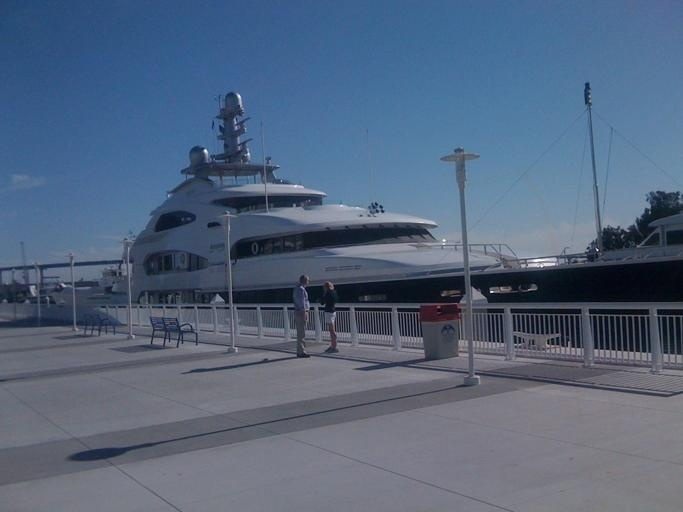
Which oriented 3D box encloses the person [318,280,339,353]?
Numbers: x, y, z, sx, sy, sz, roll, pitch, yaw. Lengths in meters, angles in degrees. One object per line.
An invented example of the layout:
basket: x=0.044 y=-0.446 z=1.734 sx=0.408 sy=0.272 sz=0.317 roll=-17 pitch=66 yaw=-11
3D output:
person: x=-0.287 y=1.578 z=15.222 sx=0.312 sy=1.329 sz=1.172 roll=-3 pitch=1 yaw=-1

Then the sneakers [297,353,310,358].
sneakers: x=-0.915 y=2.429 z=14.042 sx=0.325 sy=0.127 sz=0.111 roll=1 pitch=-3 yaw=-10

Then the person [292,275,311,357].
person: x=-1.006 y=1.510 z=14.753 sx=0.381 sy=1.534 sz=1.678 roll=-3 pitch=1 yaw=-4
